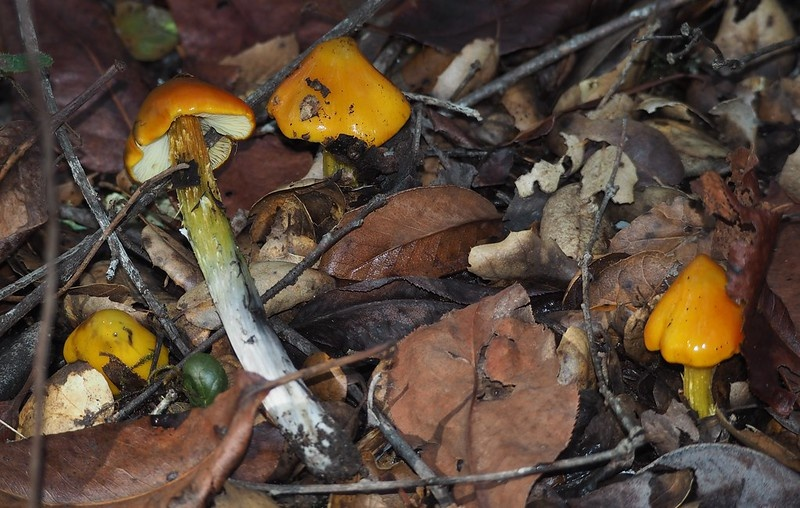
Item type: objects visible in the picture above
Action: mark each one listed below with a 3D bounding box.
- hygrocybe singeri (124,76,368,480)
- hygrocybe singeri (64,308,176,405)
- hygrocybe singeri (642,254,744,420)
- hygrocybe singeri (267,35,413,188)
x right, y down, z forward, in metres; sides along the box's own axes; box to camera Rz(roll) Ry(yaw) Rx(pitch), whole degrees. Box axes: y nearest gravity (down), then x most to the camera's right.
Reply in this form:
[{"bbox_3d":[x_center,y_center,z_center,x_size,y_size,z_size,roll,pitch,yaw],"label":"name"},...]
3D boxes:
[{"bbox_3d":[-0.862,0.032,4.104,0.647,1.620,1.891,-13,28,-29],"label":"hygrocybe singeri"},{"bbox_3d":[-1.459,0.462,4.056,0.517,0.209,0.419,28,29,-2],"label":"hygrocybe singeri"},{"bbox_3d":[1.421,0.403,3.850,0.452,0.752,0.244,7,24,14],"label":"hygrocybe singeri"},{"bbox_3d":[-0.346,-0.894,4.764,0.856,0.866,0.817,-19,47,-19],"label":"hygrocybe singeri"}]
